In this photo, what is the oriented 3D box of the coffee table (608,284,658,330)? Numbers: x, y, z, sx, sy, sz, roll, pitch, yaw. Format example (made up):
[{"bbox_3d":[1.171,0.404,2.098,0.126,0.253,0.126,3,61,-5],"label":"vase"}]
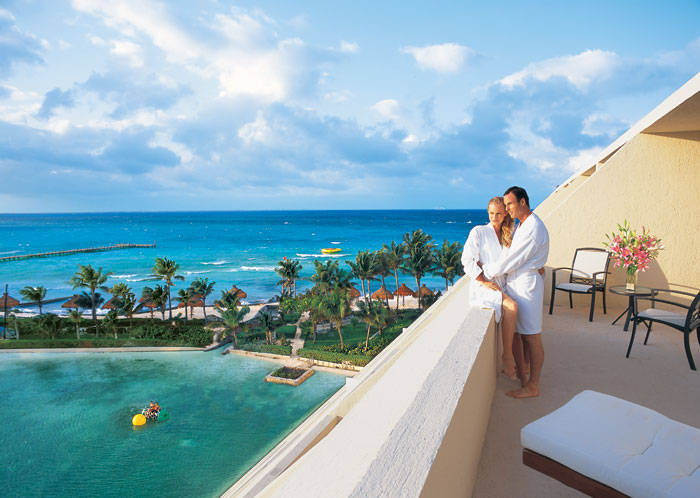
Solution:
[{"bbox_3d":[4.972,1.063,7.604,0.884,0.757,0.854,5,5,20],"label":"coffee table"}]

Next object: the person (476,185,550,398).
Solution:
[{"bbox_3d":[2.147,0.528,5.448,0.625,2.604,0.615,4,11,24],"label":"person"}]

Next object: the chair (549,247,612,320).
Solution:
[{"bbox_3d":[4.350,0.617,8.191,0.967,1.196,1.173,5,11,30],"label":"chair"}]

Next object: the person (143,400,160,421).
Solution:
[{"bbox_3d":[-10.127,8.196,21.898,1.222,0.715,0.625,1,-2,17],"label":"person"}]

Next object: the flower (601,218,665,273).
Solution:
[{"bbox_3d":[5.155,0.008,7.892,0.909,0.975,1.074,6,11,35],"label":"flower"}]
